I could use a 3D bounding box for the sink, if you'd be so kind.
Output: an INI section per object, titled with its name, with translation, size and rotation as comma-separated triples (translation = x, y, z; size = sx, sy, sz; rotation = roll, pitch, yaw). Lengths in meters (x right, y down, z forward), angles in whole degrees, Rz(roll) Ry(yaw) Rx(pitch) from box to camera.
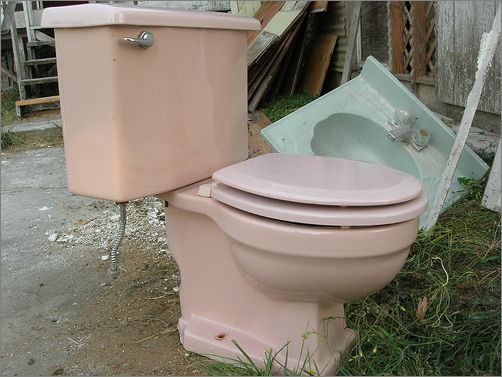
[sink]
translation = 0.641, -0.309, 2.346
size = 0.568, 0.364, 0.550
rotation = 3, 17, 5

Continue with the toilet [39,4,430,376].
[toilet]
translation = -0.057, 0.010, 1.343
size = 1.183, 1.152, 0.541
rotation = 12, 25, 26

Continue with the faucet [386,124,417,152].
[faucet]
translation = 0.781, -0.283, 2.016
size = 0.167, 0.084, 0.051
rotation = -11, 42, -25
